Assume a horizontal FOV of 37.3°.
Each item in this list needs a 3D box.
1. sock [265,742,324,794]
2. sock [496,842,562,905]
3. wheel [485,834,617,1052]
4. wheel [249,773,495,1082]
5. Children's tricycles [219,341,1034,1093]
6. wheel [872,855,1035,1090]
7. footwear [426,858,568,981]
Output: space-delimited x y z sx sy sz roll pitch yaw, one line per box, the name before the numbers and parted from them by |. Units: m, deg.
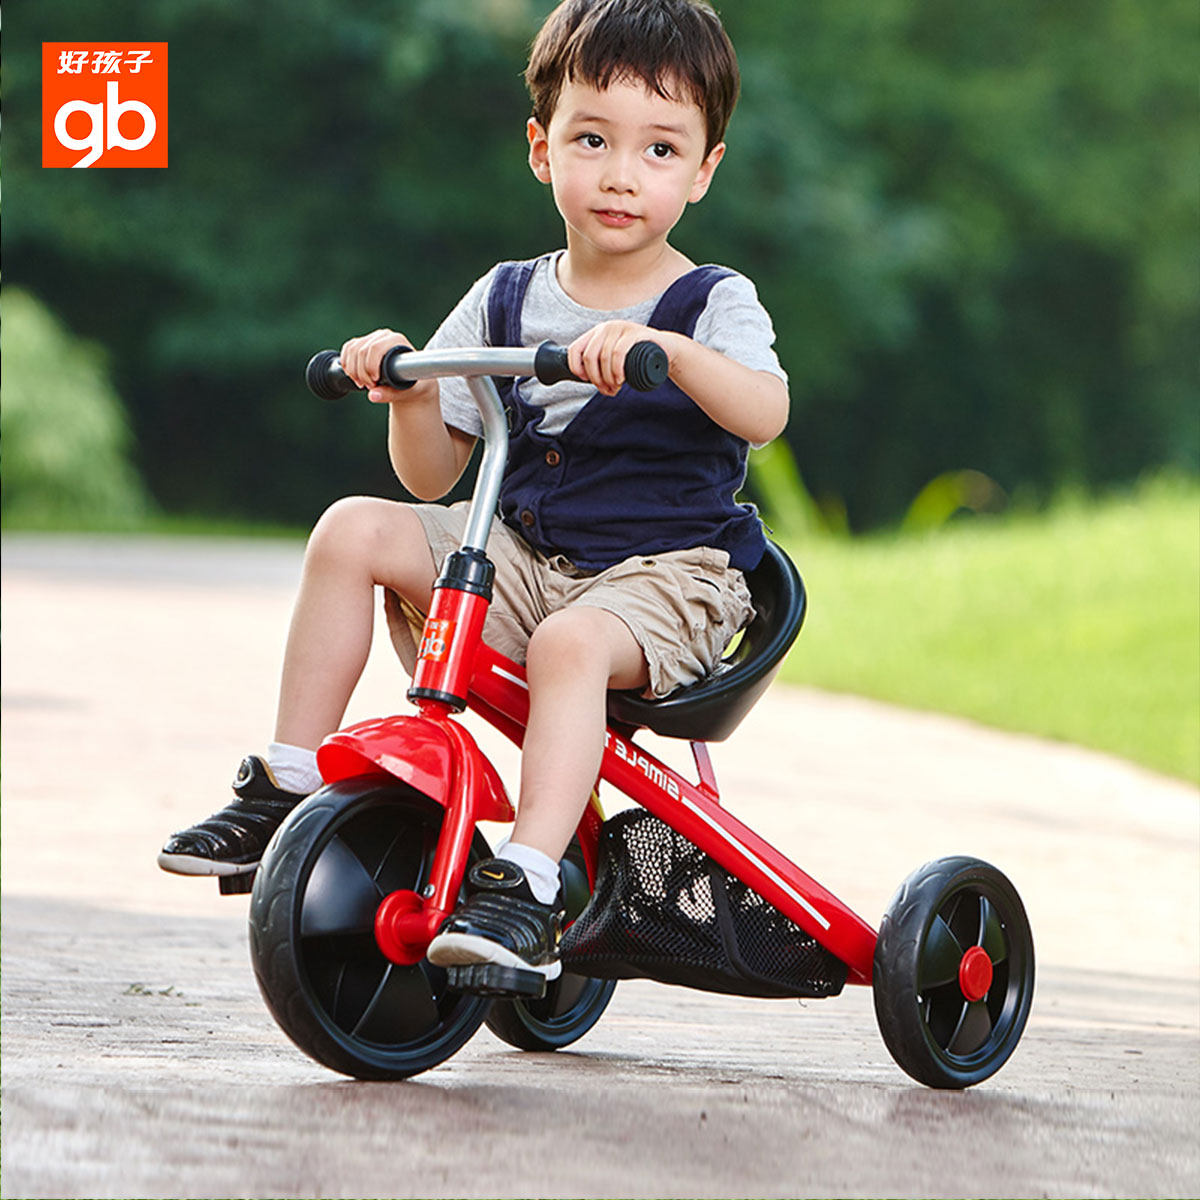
sock | -0.277 0.155 1.638 0.055 0.037 0.043 11 -4 6
sock | -0.055 0.227 1.486 0.058 0.024 0.042 31 -9 -32
wheel | -0.047 0.316 1.645 0.060 0.194 0.237 2 -23 26
wheel | -0.195 0.275 1.531 0.280 0.287 0.113 11 -6 -32
Children's tricycles | -0.006 0.140 1.887 0.615 0.700 0.897 -2 -5 44
wheel | 0.357 0.387 1.796 0.262 0.261 0.074 1 0 -41
footwear | -0.086 0.266 1.462 0.083 0.097 0.117 1 0 19
